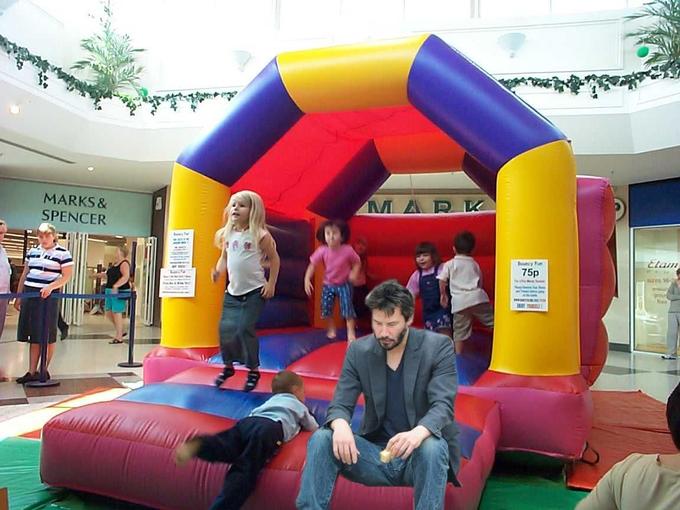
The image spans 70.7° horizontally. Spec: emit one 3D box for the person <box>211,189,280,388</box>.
[{"bbox_3d":[-0.651,0.221,3.216,0.469,1.297,0.280,1,-2,5],"label":"person"}]

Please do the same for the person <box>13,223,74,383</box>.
[{"bbox_3d":[-2.851,0.431,4.550,0.457,1.504,0.435,-1,-6,2],"label":"person"}]

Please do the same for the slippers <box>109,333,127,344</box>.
[{"bbox_3d":[-3.402,1.270,7.344,0.195,0.115,0.458,-1,-5,10],"label":"slippers"}]
